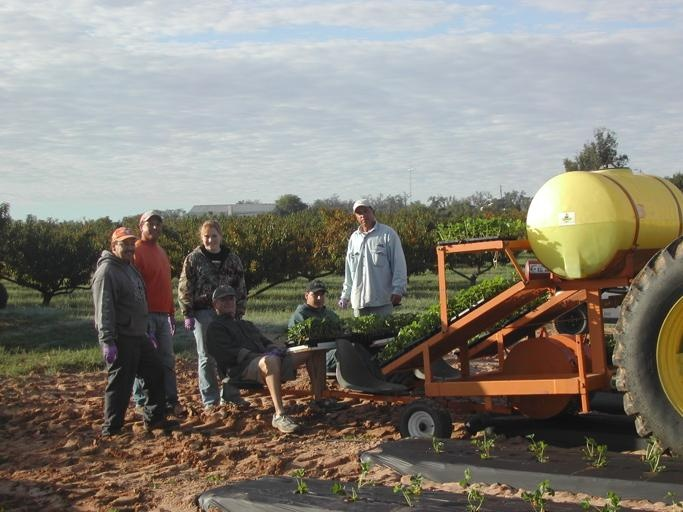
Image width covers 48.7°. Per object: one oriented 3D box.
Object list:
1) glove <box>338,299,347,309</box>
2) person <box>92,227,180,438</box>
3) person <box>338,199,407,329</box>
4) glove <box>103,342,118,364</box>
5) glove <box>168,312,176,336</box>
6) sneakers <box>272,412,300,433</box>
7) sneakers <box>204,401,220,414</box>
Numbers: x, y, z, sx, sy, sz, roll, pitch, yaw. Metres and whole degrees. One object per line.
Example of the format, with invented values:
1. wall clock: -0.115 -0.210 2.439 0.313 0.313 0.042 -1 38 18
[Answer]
1. glove: 0.035 0.693 11.207 0.090 0.051 0.137 3 -25 2
2. person: -2.729 0.947 9.751 0.840 2.273 0.570 -3 1 -23
3. person: 0.438 0.006 10.999 1.108 1.700 0.503 -2 1 33
4. glove: -2.871 1.192 9.429 0.076 0.250 0.174 -3 -4 23
5. glove: -2.510 0.978 11.035 0.093 0.285 0.193 -3 -10 17
6. sneakers: -0.725 2.086 9.524 0.392 0.173 0.150 -2 1 25
7. sneakers: -1.784 2.090 10.475 0.171 0.071 0.127 -18 2 8
